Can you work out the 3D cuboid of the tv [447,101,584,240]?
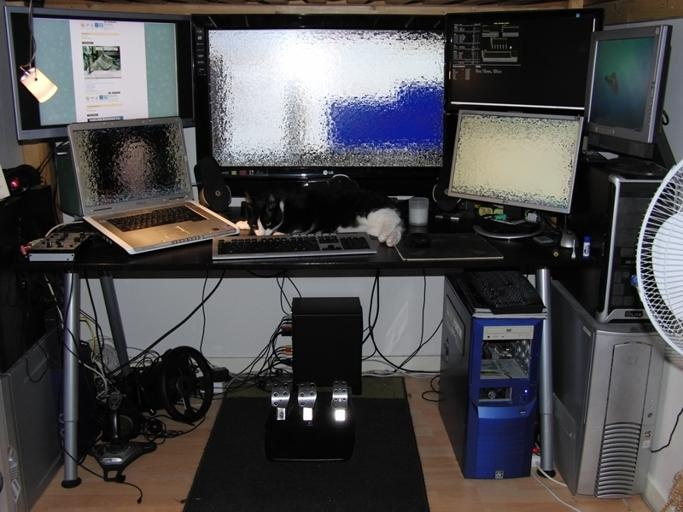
[{"bbox_3d":[0.706,-0.338,2.472,0.524,0.510,0.313,13,22,36],"label":"tv"}]

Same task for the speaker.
[{"bbox_3d":[-0.074,0.382,2.678,0.309,0.427,0.250,3,26,3],"label":"speaker"}]

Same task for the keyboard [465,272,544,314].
[{"bbox_3d":[0.644,0.122,2.364,0.245,0.099,0.343,-2,19,-3],"label":"keyboard"}]

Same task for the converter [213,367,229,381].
[{"bbox_3d":[-0.609,0.576,2.897,0.060,0.049,0.063,0,14,-4],"label":"converter"}]

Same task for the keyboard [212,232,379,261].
[{"bbox_3d":[-0.186,-0.037,2.235,0.608,0.052,0.195,-3,19,-6],"label":"keyboard"}]
